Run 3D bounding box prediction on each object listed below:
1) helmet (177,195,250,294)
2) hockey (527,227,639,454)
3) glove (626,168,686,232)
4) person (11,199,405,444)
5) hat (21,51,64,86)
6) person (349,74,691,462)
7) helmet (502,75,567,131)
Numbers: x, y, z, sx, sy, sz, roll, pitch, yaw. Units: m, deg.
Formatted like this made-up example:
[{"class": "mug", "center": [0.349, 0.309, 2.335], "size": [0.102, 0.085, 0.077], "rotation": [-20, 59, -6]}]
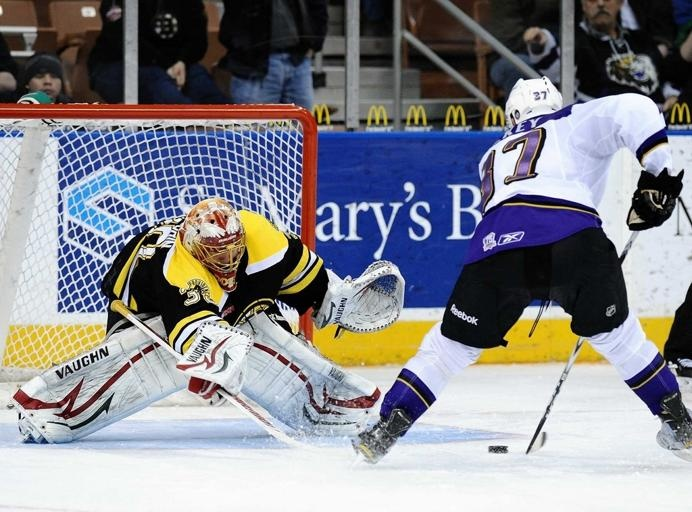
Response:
[{"class": "helmet", "center": [-0.560, -0.068, 4.615], "size": [0.266, 0.329, 0.328], "rotation": [-14, 27, -30]}, {"class": "hockey", "center": [1.044, 0.418, 4.884], "size": [0.141, 1.198, 0.062], "rotation": [36, 1, -2]}, {"class": "glove", "center": [1.242, -0.224, 4.417], "size": [0.178, 0.274, 0.095], "rotation": [15, 21, 9]}, {"class": "person", "center": [-0.588, 0.317, 4.691], "size": [1.560, 1.112, 1.509], "rotation": [-1, 25, -8]}, {"class": "hat", "center": [-1.911, -1.178, 6.747], "size": [0.188, 0.193, 0.247], "rotation": [-6, 7, 36]}, {"class": "person", "center": [0.819, 0.139, 5.195], "size": [1.281, 1.762, 1.024], "rotation": [-12, -38, 31]}, {"class": "helmet", "center": [0.795, -0.668, 4.653], "size": [0.201, 0.240, 0.239], "rotation": [4, 47, 12]}]
